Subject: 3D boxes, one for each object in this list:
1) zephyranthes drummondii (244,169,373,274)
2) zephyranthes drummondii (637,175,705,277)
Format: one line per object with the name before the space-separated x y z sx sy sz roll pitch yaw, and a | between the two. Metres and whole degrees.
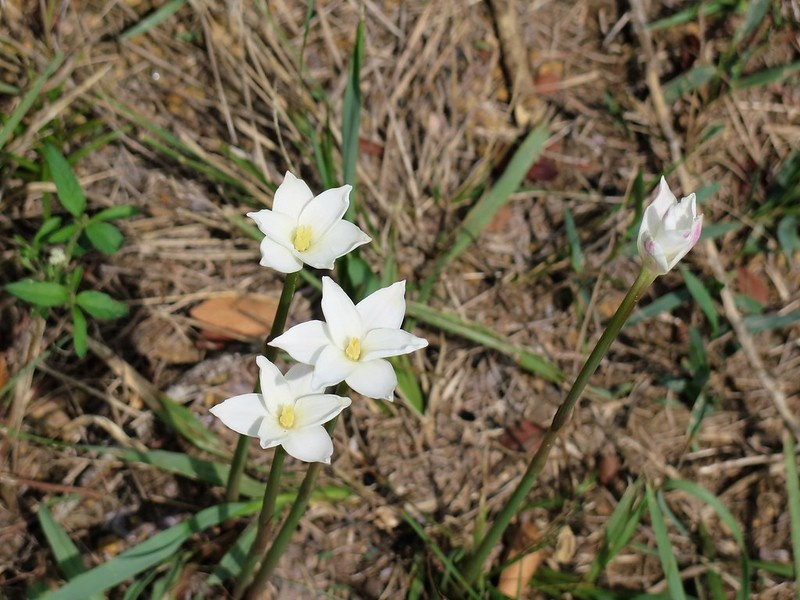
zephyranthes drummondii | -0.321 -0.229 2.229 0.318 0.363 0.169 0 80 -36
zephyranthes drummondii | 0.774 -0.184 2.029 0.161 0.231 0.233 15 83 -15
